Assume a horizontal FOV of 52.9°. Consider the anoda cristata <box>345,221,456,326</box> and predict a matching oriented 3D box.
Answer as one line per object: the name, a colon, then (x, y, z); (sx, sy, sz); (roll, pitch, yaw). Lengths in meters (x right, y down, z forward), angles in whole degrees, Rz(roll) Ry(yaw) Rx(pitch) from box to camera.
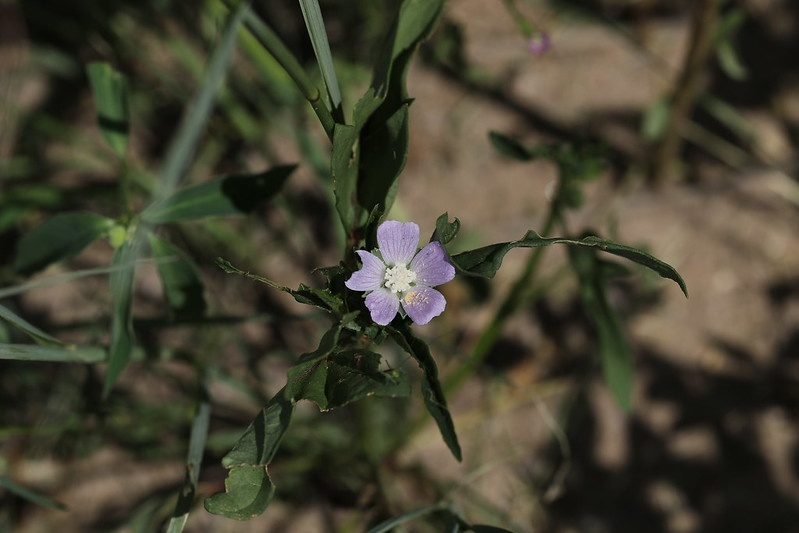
anoda cristata: (0.011, 0.062, 3.741); (0.438, 0.191, 0.462); (36, 75, 14)
